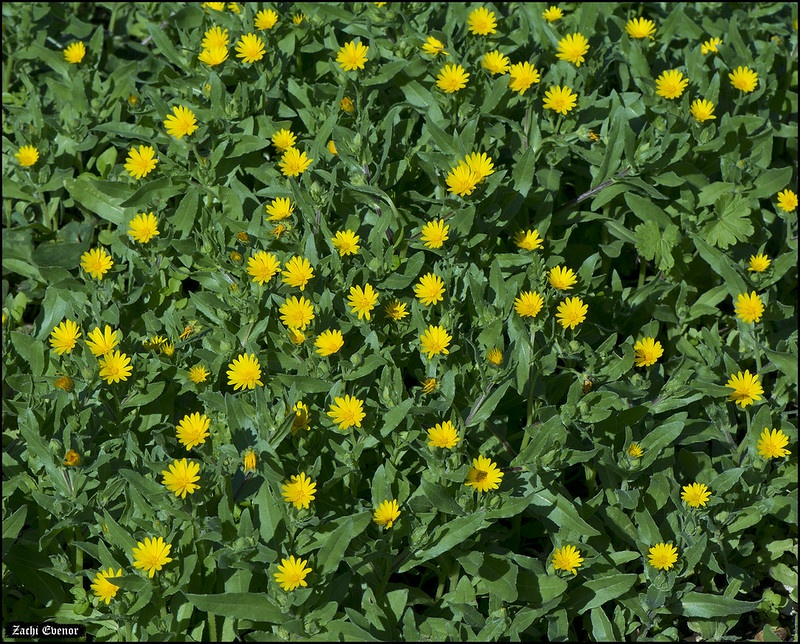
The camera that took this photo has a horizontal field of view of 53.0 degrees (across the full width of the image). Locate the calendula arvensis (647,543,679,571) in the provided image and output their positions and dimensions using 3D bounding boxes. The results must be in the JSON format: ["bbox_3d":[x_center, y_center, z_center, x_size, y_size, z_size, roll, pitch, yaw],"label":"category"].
[{"bbox_3d":[0.883,0.798,2.718,0.092,0.096,0.060,14,18,7],"label":"calendula arvensis"}]

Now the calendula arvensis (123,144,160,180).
[{"bbox_3d":[-1.058,-0.646,3.270,0.125,0.137,0.148,5,20,-19],"label":"calendula arvensis"}]

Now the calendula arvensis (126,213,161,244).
[{"bbox_3d":[-1.017,-0.375,3.158,0.103,0.136,0.049,-9,-7,11],"label":"calendula arvensis"}]

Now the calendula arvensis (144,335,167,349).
[{"bbox_3d":[-0.920,0.079,3.015,0.046,0.036,0.057,17,47,27],"label":"calendula arvensis"}]

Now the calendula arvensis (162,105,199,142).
[{"bbox_3d":[-0.887,-0.810,3.263,0.119,0.142,0.055,30,7,9],"label":"calendula arvensis"}]

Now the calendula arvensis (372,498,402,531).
[{"bbox_3d":[-0.047,0.636,2.642,0.083,0.095,0.037,34,6,27],"label":"calendula arvensis"}]

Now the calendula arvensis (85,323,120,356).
[{"bbox_3d":[-1.075,0.065,2.914,0.106,0.119,0.045,32,1,3],"label":"calendula arvensis"}]

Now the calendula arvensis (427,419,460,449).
[{"bbox_3d":[0.145,0.370,2.669,0.105,0.088,0.106,15,20,6],"label":"calendula arvensis"}]

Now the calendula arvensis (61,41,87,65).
[{"bbox_3d":[-1.495,-1.241,3.683,0.097,0.103,0.224,3,24,-25],"label":"calendula arvensis"}]

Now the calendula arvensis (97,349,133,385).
[{"bbox_3d":[-1.030,0.182,2.889,0.112,0.148,0.114,6,19,-14],"label":"calendula arvensis"}]

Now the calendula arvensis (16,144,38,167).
[{"bbox_3d":[-1.605,-0.704,3.449,0.093,0.096,0.113,2,22,-27],"label":"calendula arvensis"}]

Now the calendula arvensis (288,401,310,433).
[{"bbox_3d":[-0.342,0.336,2.745,0.082,0.111,0.048,-4,22,-38],"label":"calendula arvensis"}]

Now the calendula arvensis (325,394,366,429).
[{"bbox_3d":[-0.182,0.303,2.682,0.099,0.125,0.044,24,1,7],"label":"calendula arvensis"}]

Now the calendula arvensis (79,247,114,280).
[{"bbox_3d":[-1.209,-0.228,3.187,0.107,0.150,0.051,6,-10,-1],"label":"calendula arvensis"}]

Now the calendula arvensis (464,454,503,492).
[{"bbox_3d":[0.272,0.515,2.648,0.111,0.109,0.088,11,18,-3],"label":"calendula arvensis"}]

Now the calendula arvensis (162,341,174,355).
[{"bbox_3d":[-0.874,0.104,3.015,0.041,0.040,0.039,13,19,2],"label":"calendula arvensis"}]

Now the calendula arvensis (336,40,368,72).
[{"bbox_3d":[-0.205,-1.116,3.376,0.133,0.126,0.155,11,20,-6],"label":"calendula arvensis"}]
